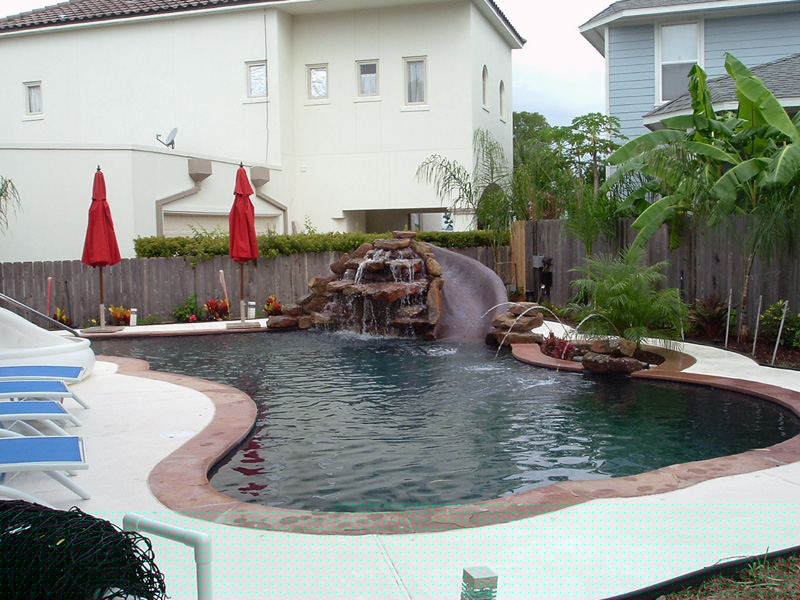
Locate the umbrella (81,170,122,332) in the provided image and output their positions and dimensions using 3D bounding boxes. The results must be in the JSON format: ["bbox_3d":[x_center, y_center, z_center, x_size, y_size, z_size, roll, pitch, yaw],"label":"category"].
[{"bbox_3d":[-7.371,-1.297,16.532,0.793,3.963,1.542,-4,8,-23],"label":"umbrella"}]
